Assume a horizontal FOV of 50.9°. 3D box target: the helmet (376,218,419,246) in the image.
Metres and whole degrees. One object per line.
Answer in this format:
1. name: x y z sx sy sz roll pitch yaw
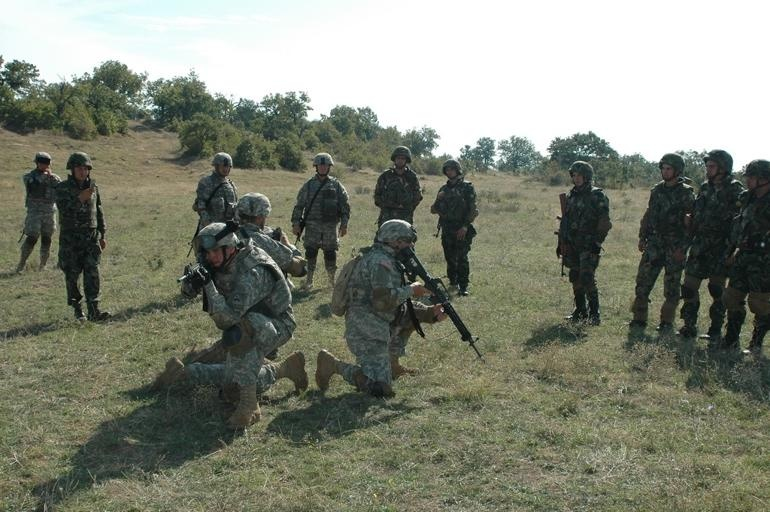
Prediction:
1. helmet: 0.191 -0.407 13.107 0.553 0.318 0.402 2 11 -13

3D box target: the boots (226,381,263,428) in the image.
1. boots: -2.131 2.241 12.408 0.474 0.648 0.620 3 11 -10

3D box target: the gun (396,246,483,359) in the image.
1. gun: 1.006 0.916 14.854 0.844 2.340 0.314 -40 13 -12

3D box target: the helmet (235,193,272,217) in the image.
1. helmet: -2.145 -0.862 13.416 0.515 0.374 0.366 -13 20 -43

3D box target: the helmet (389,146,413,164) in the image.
1. helmet: 0.367 -2.175 17.284 0.414 0.381 0.435 1 8 -3

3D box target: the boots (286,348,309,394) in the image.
1. boots: -1.403 1.839 12.970 0.288 0.686 0.309 -4 -2 -21

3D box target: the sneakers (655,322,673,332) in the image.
1. sneakers: 5.096 1.302 14.774 0.286 0.266 0.137 8 30 -43

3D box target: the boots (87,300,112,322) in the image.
1. boots: -5.304 1.041 15.234 0.518 0.465 0.251 -3 11 -23

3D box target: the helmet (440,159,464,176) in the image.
1. helmet: 1.403 -1.902 17.249 0.343 0.335 0.451 -1 3 31

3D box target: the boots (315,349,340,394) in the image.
1. boots: -0.954 1.847 12.995 0.396 0.659 0.290 5 -3 22

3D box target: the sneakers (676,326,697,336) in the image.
1. sneakers: 5.444 1.366 14.565 0.233 0.161 0.236 -1 -2 20

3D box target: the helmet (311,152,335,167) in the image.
1. helmet: -1.266 -2.033 16.533 0.368 0.265 0.360 0 -1 -3

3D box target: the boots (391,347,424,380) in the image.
1. boots: 0.228 1.829 13.552 0.715 0.516 0.249 -6 15 -13

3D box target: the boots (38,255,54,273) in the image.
1. boots: -7.609 0.166 18.083 0.345 0.441 0.268 -4 9 -16

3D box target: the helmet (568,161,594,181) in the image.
1. helmet: 3.686 -1.631 15.279 0.424 0.339 0.571 7 11 11

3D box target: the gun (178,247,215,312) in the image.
1. gun: -2.922 0.337 12.277 0.335 0.734 1.245 -3 6 7

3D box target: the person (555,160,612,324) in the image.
1. person: 3.694 -0.263 15.130 0.583 2.967 1.024 -2 13 -32

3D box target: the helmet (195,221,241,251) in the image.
1. helmet: -2.495 -0.300 12.089 0.548 0.286 0.393 -4 -1 -44

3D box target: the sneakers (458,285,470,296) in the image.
1. sneakers: 1.688 0.738 17.374 0.118 0.151 0.362 3 7 16

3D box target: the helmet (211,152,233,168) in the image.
1. helmet: -3.204 -1.903 15.955 0.320 0.269 0.369 4 11 -4

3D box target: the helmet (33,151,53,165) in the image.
1. helmet: -7.211 -2.064 17.080 0.256 0.270 0.552 1 11 -17
